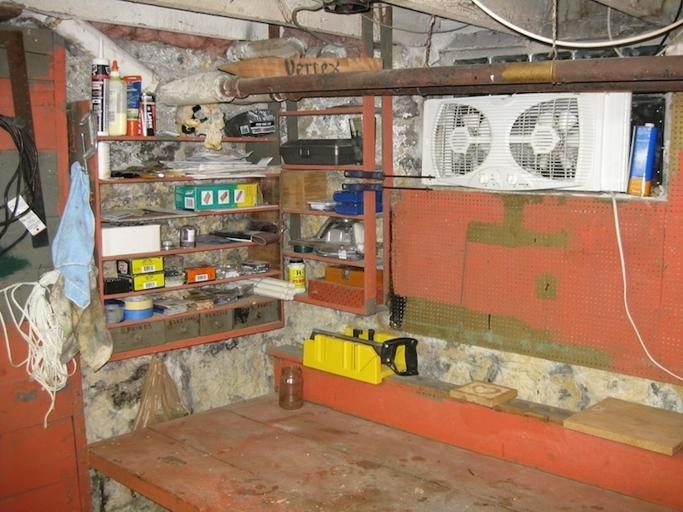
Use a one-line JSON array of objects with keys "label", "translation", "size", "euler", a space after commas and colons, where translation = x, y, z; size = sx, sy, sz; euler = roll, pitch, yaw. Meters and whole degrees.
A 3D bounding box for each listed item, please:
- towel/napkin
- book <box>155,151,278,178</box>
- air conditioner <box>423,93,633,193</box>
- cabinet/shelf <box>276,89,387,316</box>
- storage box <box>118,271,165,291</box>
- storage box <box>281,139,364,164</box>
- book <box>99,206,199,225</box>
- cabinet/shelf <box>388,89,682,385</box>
[{"label": "towel/napkin", "translation": [-1.535, -0.119, 3.237], "size": [0.235, 0.832, 0.239], "euler": [-5, 9, -25]}, {"label": "book", "translation": [-0.808, -0.601, 3.699], "size": [0.761, 0.174, 0.249], "euler": [-8, 11, -43]}, {"label": "air conditioner", "translation": [1.016, -0.655, 3.238], "size": [0.365, 0.522, 1.251], "euler": [-9, 15, -44]}, {"label": "cabinet/shelf", "translation": [-0.037, -0.345, 3.876], "size": [0.459, 1.376, 0.854], "euler": [-8, 11, -38]}, {"label": "storage box", "translation": [-1.195, 0.156, 3.485], "size": [0.161, 0.067, 0.158], "euler": [7, 10, 42]}, {"label": "storage box", "translation": [-0.145, -0.683, 3.743], "size": [0.616, 0.175, 0.159], "euler": [6, 11, 39]}, {"label": "book", "translation": [-1.191, -0.249, 3.540], "size": [0.563, 0.092, 0.258], "euler": [-3, 8, -17]}, {"label": "cabinet/shelf", "translation": [1.167, 0.049, 3.130], "size": [1.584, 1.269, 0.364], "euler": [4, 13, 41]}]
